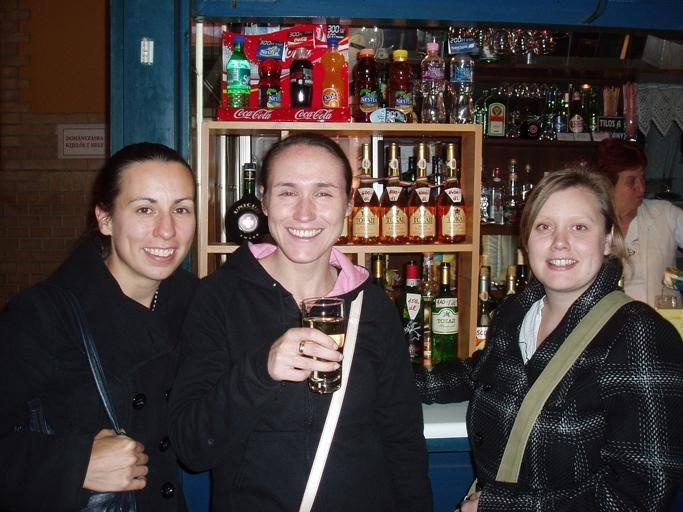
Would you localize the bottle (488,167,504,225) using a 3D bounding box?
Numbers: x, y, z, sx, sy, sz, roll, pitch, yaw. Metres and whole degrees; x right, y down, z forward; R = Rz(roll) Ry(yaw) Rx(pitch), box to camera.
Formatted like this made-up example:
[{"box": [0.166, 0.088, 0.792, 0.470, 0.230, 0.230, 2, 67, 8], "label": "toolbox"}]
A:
[{"box": [0.875, -0.338, 3.407, 0.096, 0.312, 0.091, -1, 6, 0], "label": "bottle"}]

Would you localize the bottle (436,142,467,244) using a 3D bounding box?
[{"box": [0.524, -0.297, 2.849, 0.134, 0.437, 0.130, -2, 4, 0], "label": "bottle"}]

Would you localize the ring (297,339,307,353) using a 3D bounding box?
[{"box": [-0.110, 0.251, 1.705, 0.020, 0.029, 0.030, 4, 16, -1], "label": "ring"}]

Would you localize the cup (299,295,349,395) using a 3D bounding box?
[{"box": [-0.050, 0.269, 1.839, 0.139, 0.312, 0.237, -1, 7, 0], "label": "cup"}]

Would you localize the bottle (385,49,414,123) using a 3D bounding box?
[{"box": [0.282, -0.781, 2.786, 0.118, 0.316, 0.166, 0, 7, 6], "label": "bottle"}]

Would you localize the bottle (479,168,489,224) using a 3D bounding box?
[{"box": [0.805, -0.356, 3.370, 0.056, 0.225, 0.053, -5, 21, 2], "label": "bottle"}]

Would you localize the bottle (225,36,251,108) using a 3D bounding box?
[{"box": [-0.452, -0.819, 2.656, 0.099, 0.314, 0.081, -2, 7, -11], "label": "bottle"}]

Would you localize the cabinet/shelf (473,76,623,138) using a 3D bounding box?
[{"box": [1.220, -0.866, 3.653, 0.933, 0.343, 0.144, -1, -4, -5], "label": "cabinet/shelf"}]

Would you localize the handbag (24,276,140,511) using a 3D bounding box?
[{"box": [-0.758, 0.444, 1.790, 0.257, 0.657, 0.167, 1, 7, 16], "label": "handbag"}]

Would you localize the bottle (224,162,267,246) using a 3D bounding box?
[{"box": [-0.411, -0.230, 2.845, 0.252, 0.407, 0.229, -7, -5, 2], "label": "bottle"}]

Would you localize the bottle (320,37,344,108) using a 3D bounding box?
[{"box": [-0.038, -0.826, 2.723, 0.103, 0.334, 0.204, -1, 7, -1], "label": "bottle"}]
